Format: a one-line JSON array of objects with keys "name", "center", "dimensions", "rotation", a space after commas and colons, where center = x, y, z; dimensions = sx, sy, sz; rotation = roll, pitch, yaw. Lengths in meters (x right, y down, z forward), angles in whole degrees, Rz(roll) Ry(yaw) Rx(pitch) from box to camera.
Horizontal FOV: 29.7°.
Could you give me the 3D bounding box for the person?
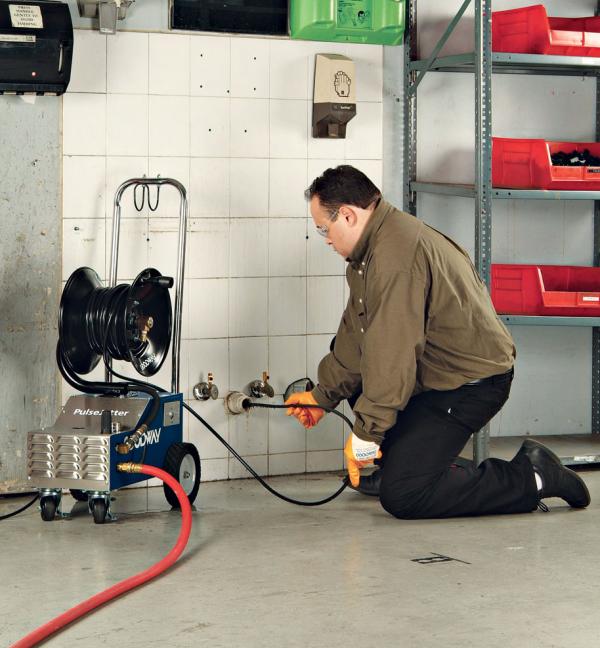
[{"name": "person", "center": [0.488, 0.076, 4.227], "dimensions": [1.134, 1.502, 0.849], "rotation": [-2, 6, 13]}]
